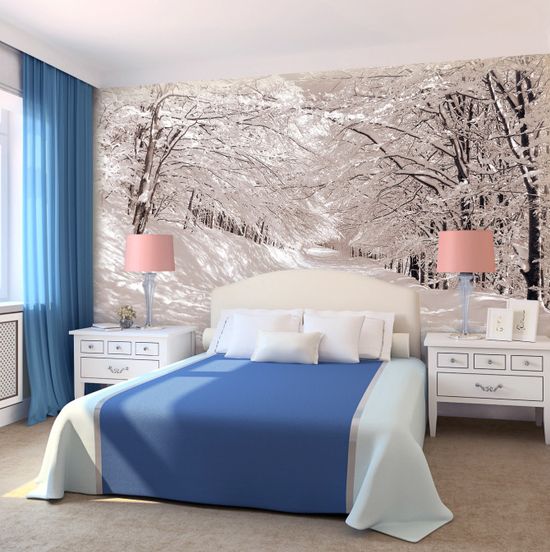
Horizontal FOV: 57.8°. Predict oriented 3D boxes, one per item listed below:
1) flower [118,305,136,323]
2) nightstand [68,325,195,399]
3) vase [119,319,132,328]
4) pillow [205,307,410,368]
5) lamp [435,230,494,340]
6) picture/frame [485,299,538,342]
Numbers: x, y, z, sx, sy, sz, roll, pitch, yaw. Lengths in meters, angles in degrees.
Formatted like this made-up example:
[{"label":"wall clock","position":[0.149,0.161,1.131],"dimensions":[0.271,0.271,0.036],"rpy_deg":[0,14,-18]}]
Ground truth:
[{"label":"flower","position":[-1.215,0.314,4.103],"dimensions":[0.181,0.154,0.145],"rpy_deg":[1,-5,-10]},{"label":"nightstand","position":[-1.159,0.743,4.037],"dimensions":[0.797,0.611,0.517],"rpy_deg":[2,2,12]},{"label":"vase","position":[-1.193,0.380,3.993],"dimensions":[0.082,0.061,0.074],"rpy_deg":[1,-5,-7]},{"label":"pillow","position":[0.221,0.422,3.639],"dimensions":[1.419,0.327,0.543],"rpy_deg":[0,-1,16]},{"label":"lamp","position":[1.355,0.045,3.575],"dimensions":[0.369,0.739,0.412],"rpy_deg":[0,-1,17]},{"label":"picture/frame","position":[1.596,0.306,3.354],"dimensions":[0.304,0.231,0.115],"rpy_deg":[2,-7,32]}]
